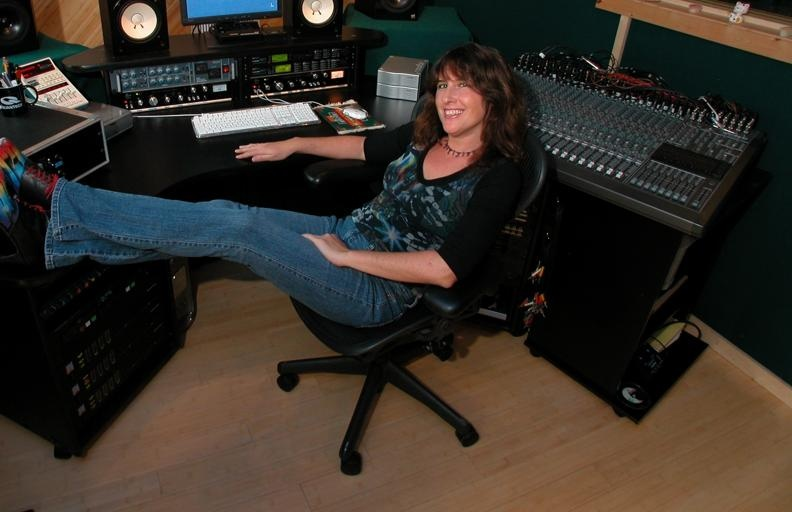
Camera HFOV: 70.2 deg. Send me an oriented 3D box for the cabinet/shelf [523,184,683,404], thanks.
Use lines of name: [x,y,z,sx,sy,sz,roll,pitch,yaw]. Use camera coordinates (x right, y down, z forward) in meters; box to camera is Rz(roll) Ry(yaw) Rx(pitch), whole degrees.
cabinet/shelf: [0.927,0.160,2.508,0.593,0.818,0.520,29,44,20]

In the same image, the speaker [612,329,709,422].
speaker: [1.233,0.577,2.716,0.509,0.115,0.327,-39,58,-23]

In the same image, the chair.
chair: [0.076,0.161,2.644,1.103,1.467,1.098,-7,33,-18]
